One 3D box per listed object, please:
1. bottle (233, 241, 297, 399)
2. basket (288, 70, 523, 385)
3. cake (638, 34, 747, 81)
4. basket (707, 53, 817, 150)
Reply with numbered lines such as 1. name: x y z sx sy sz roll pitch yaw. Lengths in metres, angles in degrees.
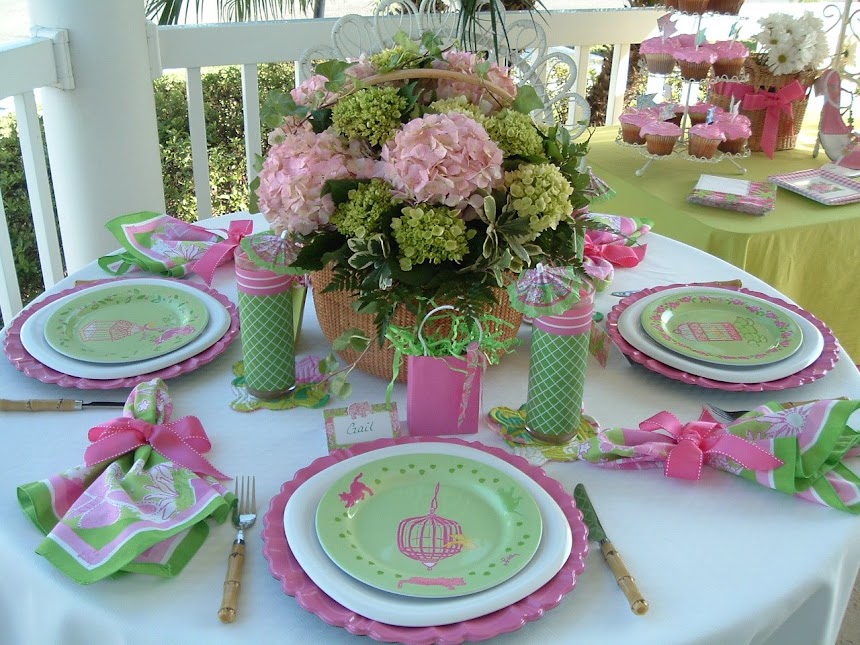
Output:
1. bottle: -0.252 -0.002 1.061 0.073 0.247 0.095 -10 33 -23
2. basket: -0.009 -0.181 1.163 0.412 0.475 0.411 0 23 -3
3. cake: 0.919 -0.936 2.360 0.258 0.089 0.258 1 25 3
4. basket: 1.277 -0.821 2.594 0.278 0.393 0.368 -21 38 -28
